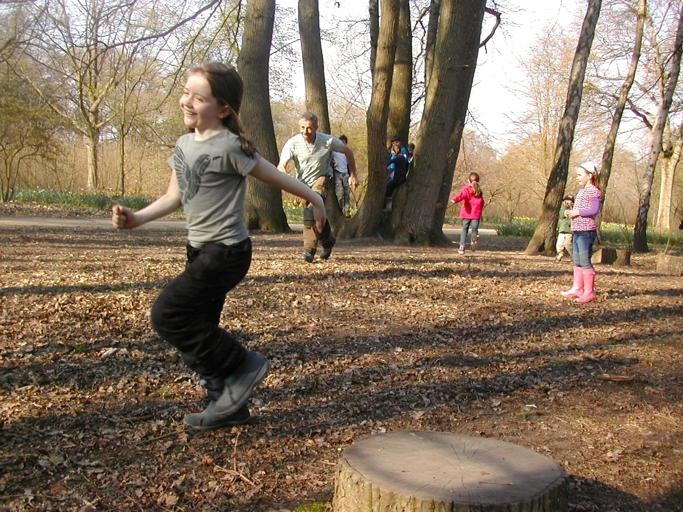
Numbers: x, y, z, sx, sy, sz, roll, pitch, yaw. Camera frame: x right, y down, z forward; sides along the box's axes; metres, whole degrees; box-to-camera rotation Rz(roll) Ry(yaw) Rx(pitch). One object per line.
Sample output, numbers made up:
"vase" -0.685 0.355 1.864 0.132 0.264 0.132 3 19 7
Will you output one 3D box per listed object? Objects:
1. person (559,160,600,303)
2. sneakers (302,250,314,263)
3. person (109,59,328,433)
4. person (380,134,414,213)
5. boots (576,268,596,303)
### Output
"person" 3.116 -0.330 7.365 0.481 1.745 0.852 7 11 21
"sneakers" -0.514 0.008 8.772 0.172 0.162 0.170 6 39 -4
"person" -0.767 -0.025 3.740 0.866 2.435 0.409 2 10 -6
"person" 1.324 -1.900 13.254 0.585 1.703 1.187 4 10 4
"boots" 3.070 0.361 7.142 0.199 0.427 0.233 7 11 23
